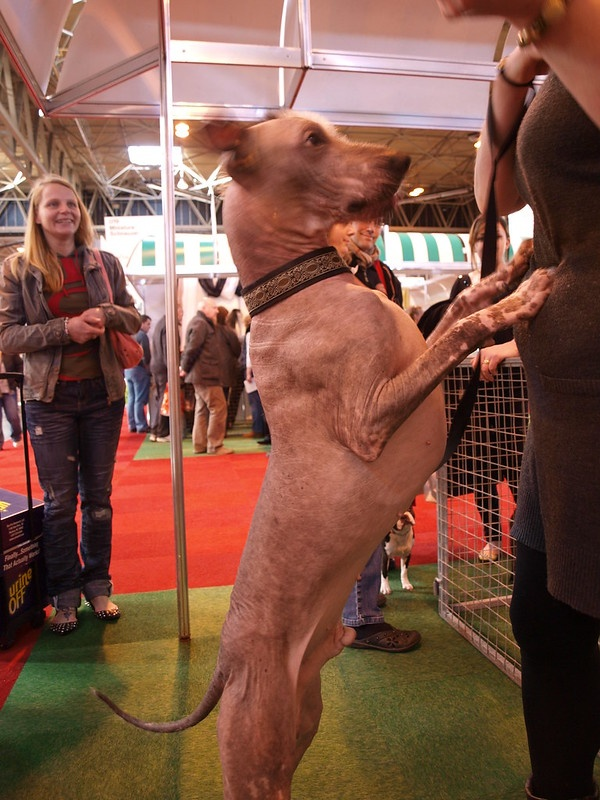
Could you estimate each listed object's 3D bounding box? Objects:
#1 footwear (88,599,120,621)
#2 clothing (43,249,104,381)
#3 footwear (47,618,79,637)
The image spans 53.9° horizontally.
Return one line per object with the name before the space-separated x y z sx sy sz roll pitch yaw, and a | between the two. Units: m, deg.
footwear | -0.871 0.946 2.681 0.064 0.068 0.181 -1 -4 -27
clothing | -1.003 -0.372 2.649 0.314 0.518 0.129 -16 -19 28
footwear | -1.011 0.977 2.555 0.114 0.045 0.094 0 2 -22
